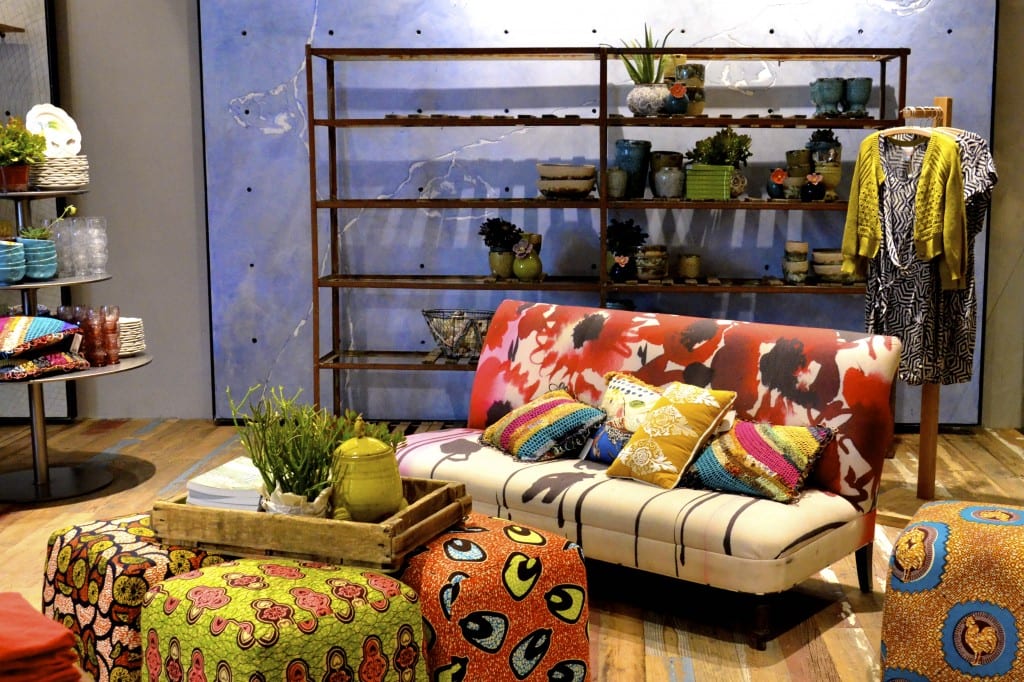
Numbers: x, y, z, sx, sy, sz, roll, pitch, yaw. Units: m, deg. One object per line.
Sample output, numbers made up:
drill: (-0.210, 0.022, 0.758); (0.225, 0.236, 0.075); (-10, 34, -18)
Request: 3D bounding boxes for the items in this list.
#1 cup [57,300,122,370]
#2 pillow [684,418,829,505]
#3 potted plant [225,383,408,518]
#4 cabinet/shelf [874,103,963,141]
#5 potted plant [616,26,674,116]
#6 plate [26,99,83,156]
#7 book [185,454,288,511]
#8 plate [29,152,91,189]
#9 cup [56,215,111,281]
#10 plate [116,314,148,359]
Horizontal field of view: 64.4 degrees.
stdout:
cup: (-2.280, -0.042, 4.462); (0.304, 0.352, 0.328); (3, 13, -1)
pillow: (0.978, 0.470, 3.252); (0.346, 0.107, 0.354); (6, 47, 40)
potted plant: (-0.778, 0.416, 3.169); (0.682, 0.321, 0.449); (13, 0, -3)
cabinet/shelf: (2.259, -1.220, 4.515); (0.321, 0.229, 1.133); (3, 10, 26)
potted plant: (0.853, -1.710, 5.106); (0.325, 0.636, 0.524); (0, 9, 9)
plate: (-2.635, -1.206, 4.684); (0.086, 0.370, 0.353); (-11, -10, 40)
book: (-0.921, 0.472, 2.664); (0.184, 0.052, 0.191); (2, 13, 12)
plate: (-2.508, -0.930, 4.520); (0.196, 0.122, 0.212); (-1, 2, 0)
cup: (-2.403, -0.541, 4.629); (0.319, 0.364, 0.322); (1, 6, 0)
plate: (-2.228, -0.026, 4.757); (0.209, 0.206, 0.227); (5, 9, 39)
